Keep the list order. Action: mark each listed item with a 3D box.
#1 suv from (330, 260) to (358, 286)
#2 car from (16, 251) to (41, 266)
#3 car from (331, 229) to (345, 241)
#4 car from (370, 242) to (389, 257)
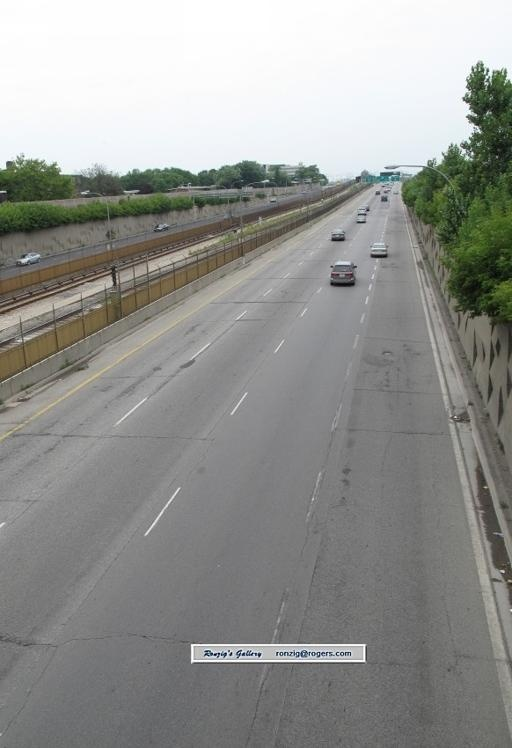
[{"bbox_3d":[6.376,-7.478,40.623,1.102,0.965,2.571,2,23,11],"label":"suv"},{"bbox_3d":[-26.603,-13.483,64.361,1.434,1.135,3.030,4,14,18],"label":"car"},{"bbox_3d":[9.991,-17.150,67.933,1.066,0.895,2.673,1,21,6],"label":"car"},{"bbox_3d":[11.772,-11.826,53.082,1.420,1.177,1.602,3,16,20],"label":"car"}]
